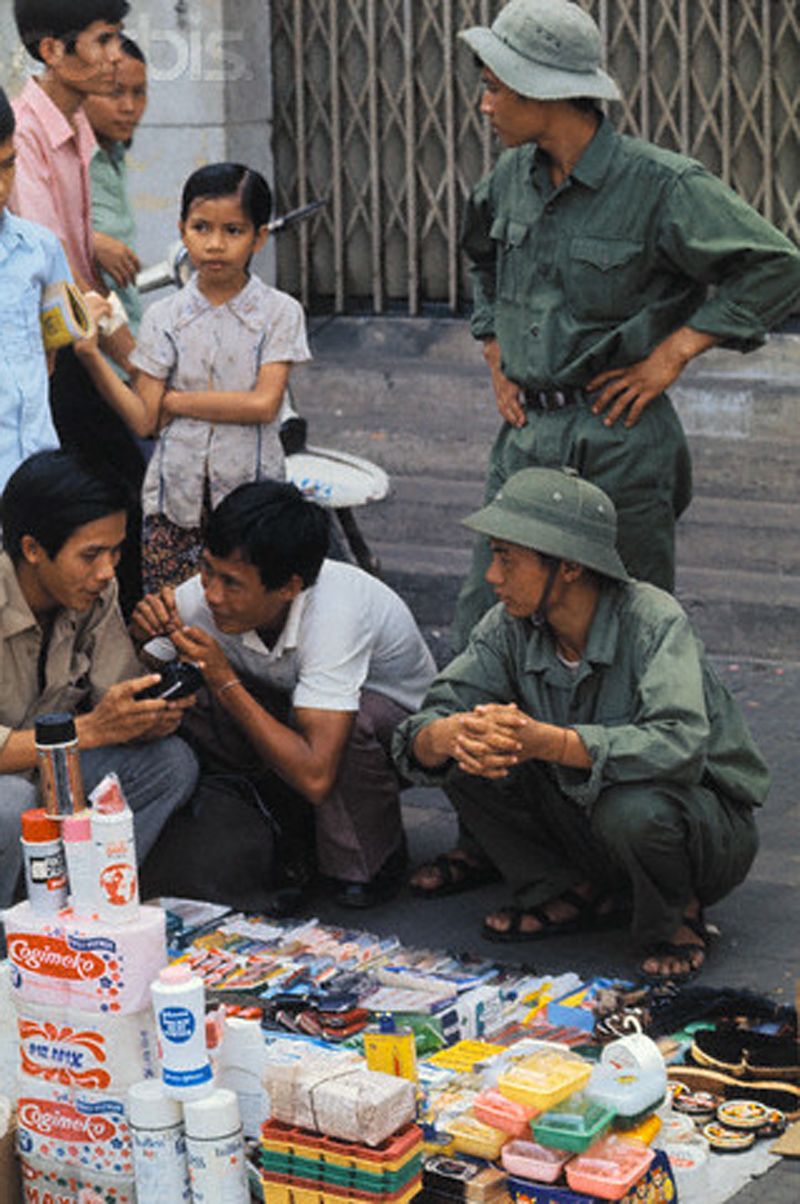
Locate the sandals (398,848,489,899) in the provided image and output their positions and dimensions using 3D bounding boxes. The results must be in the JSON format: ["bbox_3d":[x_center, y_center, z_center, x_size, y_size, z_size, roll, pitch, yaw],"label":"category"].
[{"bbox_3d":[0.130,0.748,3.697,0.222,0.062,0.109,-6,26,-18],"label":"sandals"}]

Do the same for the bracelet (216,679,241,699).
[{"bbox_3d":[-0.448,0.222,3.522,0.062,0.050,0.040,-3,13,-10],"label":"bracelet"}]

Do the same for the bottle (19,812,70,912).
[{"bbox_3d":[-0.514,0.383,1.977,0.100,0.119,0.084,-4,7,-37],"label":"bottle"}]

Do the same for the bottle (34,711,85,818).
[{"bbox_3d":[-0.518,0.241,2.031,0.061,0.122,0.236,-5,12,-15],"label":"bottle"}]

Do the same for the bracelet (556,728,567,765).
[{"bbox_3d":[0.377,0.328,3.050,0.019,0.077,0.023,0,14,5],"label":"bracelet"}]

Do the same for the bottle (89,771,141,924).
[{"bbox_3d":[-0.405,0.358,1.920,0.098,0.199,0.089,-4,3,0],"label":"bottle"}]
